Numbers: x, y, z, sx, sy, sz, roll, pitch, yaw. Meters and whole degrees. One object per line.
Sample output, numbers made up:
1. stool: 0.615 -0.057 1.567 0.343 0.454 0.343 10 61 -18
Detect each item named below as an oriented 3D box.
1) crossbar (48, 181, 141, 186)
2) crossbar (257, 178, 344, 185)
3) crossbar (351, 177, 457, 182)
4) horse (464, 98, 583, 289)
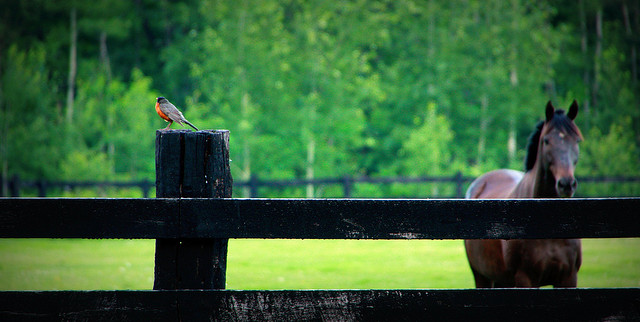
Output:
1. crossbar: -13.378 1.354 72.152 5.183 0.359 0.392 0 14 -2
2. crossbar: -1.126 1.120 73.141 5.042 0.440 0.553 1 14 2
3. crossbar: 5.051 1.094 73.106 6.183 0.343 0.484 -1 14 -5
4. horse: 11.029 1.753 63.400 5.711 9.772 9.761 1 0 7
